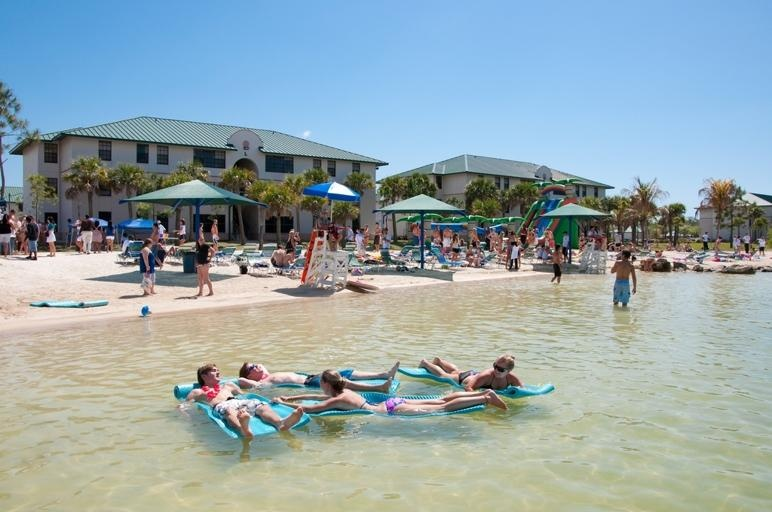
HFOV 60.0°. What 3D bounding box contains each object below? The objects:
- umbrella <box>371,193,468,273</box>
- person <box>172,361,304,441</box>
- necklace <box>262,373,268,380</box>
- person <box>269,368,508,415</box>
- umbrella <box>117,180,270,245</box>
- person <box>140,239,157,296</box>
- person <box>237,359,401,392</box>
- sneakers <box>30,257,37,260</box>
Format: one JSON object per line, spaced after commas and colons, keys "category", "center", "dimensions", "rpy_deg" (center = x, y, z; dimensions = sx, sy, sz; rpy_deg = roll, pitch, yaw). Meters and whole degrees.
{"category": "umbrella", "center": [1.412, -0.729, 27.658], "dimensions": [3.498, 2.965, 3.455], "rpy_deg": [-1, 10, -9]}
{"category": "person", "center": [-2.353, 2.317, 10.487], "dimensions": [1.008, 0.462, 1.628], "rpy_deg": [-3, 12, -36]}
{"category": "necklace", "center": [-2.079, 2.064, 11.466], "dimensions": [0.092, 0.086, 0.032], "rpy_deg": [-1, -19, -8]}
{"category": "person", "center": [-0.006, 2.168, 10.629], "dimensions": [3.481, 0.595, 0.579], "rpy_deg": [1, 5, -2]}
{"category": "umbrella", "center": [-6.700, -1.859, 23.658], "dimensions": [3.053, 1.615, 2.834], "rpy_deg": [4, 6, 23]}
{"category": "person", "center": [-6.639, 0.328, 18.601], "dimensions": [0.376, 1.467, 0.978], "rpy_deg": [-1, 6, -20]}
{"category": "person", "center": [-1.266, 2.076, 11.319], "dimensions": [1.745, 0.344, 1.013], "rpy_deg": [1, -2, -1]}
{"category": "sneakers", "center": [-14.126, 0.089, 26.785], "dimensions": [0.143, 0.169, 0.424], "rpy_deg": [-2, 1, -44]}
